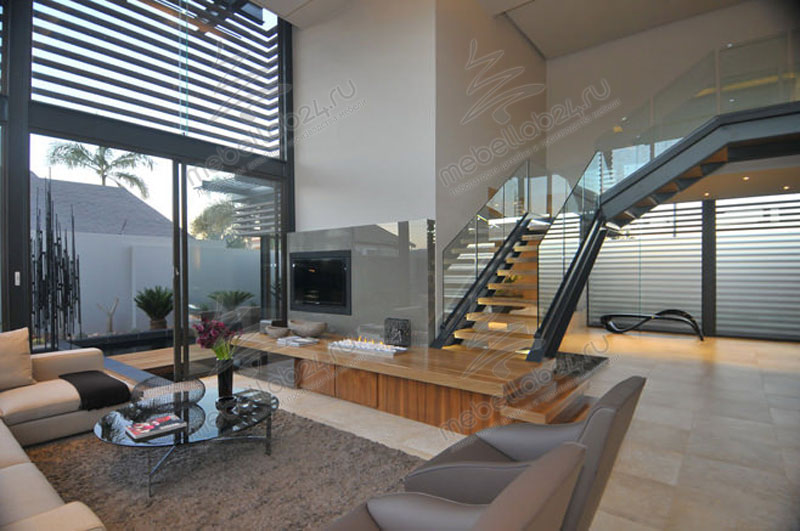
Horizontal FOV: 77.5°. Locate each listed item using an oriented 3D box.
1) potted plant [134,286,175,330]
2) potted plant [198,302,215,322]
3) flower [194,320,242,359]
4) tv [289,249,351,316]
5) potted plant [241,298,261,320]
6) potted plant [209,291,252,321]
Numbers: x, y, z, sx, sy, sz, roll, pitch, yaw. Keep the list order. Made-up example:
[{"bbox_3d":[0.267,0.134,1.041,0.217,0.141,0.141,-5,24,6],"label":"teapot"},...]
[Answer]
[{"bbox_3d":[-5.076,0.999,10.452,0.683,0.680,0.653,-5,-10,19],"label":"potted plant"},{"bbox_3d":[-3.200,0.761,8.327,0.268,0.291,0.123,-8,15,-31],"label":"potted plant"},{"bbox_3d":[-2.247,0.927,6.095,0.402,0.491,0.328,-4,13,-15],"label":"flower"},{"bbox_3d":[-1.400,0.300,8.869,1.409,1.100,0.147,0,1,31],"label":"tv"},{"bbox_3d":[-2.646,0.764,8.885,0.342,0.391,0.309,3,4,41],"label":"potted plant"},{"bbox_3d":[-2.922,0.688,8.619,0.501,0.333,0.493,1,-1,-43],"label":"potted plant"}]
